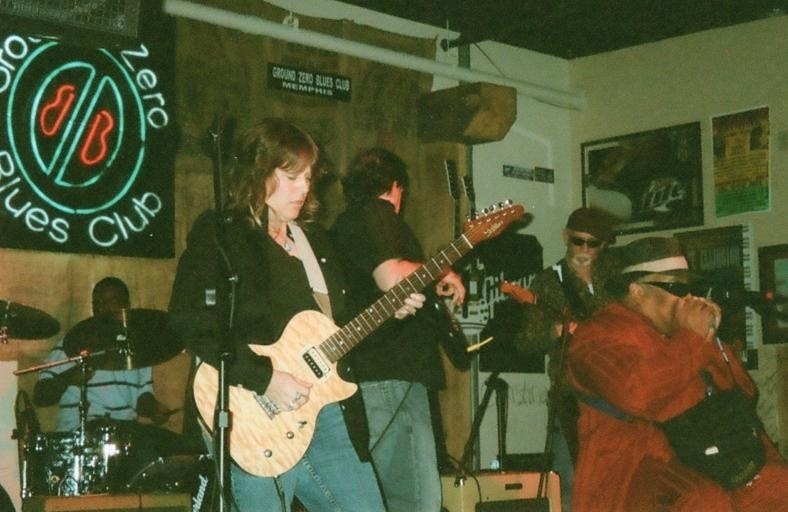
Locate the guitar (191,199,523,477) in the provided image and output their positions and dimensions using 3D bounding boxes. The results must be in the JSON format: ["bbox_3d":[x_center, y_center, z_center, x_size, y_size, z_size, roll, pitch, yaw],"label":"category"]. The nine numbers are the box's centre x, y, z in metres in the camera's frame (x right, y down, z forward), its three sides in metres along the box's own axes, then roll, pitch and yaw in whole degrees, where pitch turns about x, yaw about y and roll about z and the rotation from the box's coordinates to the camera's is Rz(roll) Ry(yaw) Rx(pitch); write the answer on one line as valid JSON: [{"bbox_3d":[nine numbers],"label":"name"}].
[{"bbox_3d":[-0.268,0.485,6.081,2.000,0.653,0.217,-37,8,-30],"label":"guitar"}]

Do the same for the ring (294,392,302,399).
[{"bbox_3d":[-0.510,0.757,5.549,0.037,0.036,0.009,-7,5,-28],"label":"ring"}]

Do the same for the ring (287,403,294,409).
[{"bbox_3d":[-0.555,0.807,5.536,0.023,0.032,0.007,5,3,-14],"label":"ring"}]

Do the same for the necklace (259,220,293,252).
[{"bbox_3d":[-0.657,-0.113,5.833,0.054,0.224,0.117,-39,-22,27],"label":"necklace"}]

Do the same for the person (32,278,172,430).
[{"bbox_3d":[-1.888,0.612,6.574,0.740,0.970,0.298,-1,-9,-31],"label":"person"}]

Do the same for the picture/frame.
[{"bbox_3d":[1.956,-0.585,8.039,0.905,0.748,0.061,-5,-8,40],"label":"picture/frame"}]
